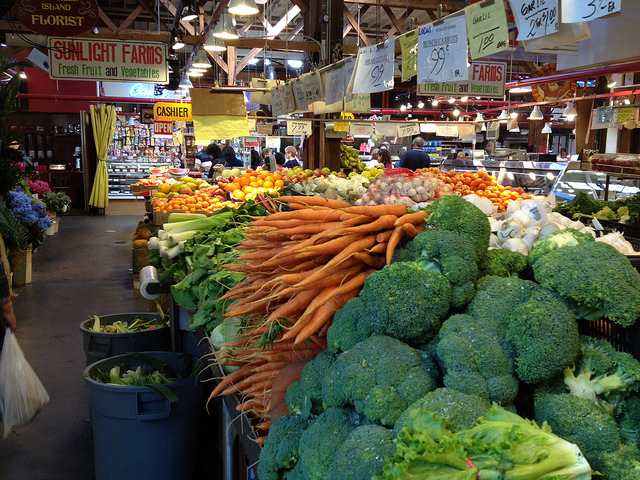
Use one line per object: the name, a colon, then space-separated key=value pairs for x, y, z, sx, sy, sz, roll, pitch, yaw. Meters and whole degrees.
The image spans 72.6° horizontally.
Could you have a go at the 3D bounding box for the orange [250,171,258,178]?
orange: x=-0.797 y=-0.791 z=5.239 sx=0.091 sy=0.061 sz=0.110 roll=-2 pitch=13 yaw=-9

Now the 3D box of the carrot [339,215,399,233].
carrot: x=0.194 y=-0.056 z=1.649 sx=0.222 sy=0.066 sz=0.049 roll=-3 pitch=12 yaw=-12

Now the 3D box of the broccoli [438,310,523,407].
broccoli: x=0.421 y=0.337 z=1.239 sx=0.203 sy=0.122 sz=0.266 roll=-35 pitch=51 yaw=-9

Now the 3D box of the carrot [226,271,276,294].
carrot: x=-0.287 y=0.181 z=1.853 sx=0.275 sy=0.033 sz=0.039 roll=-21 pitch=20 yaw=13

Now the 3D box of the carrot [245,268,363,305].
carrot: x=-0.046 y=0.180 z=1.654 sx=0.309 sy=0.047 sz=0.054 roll=-21 pitch=8 yaw=9

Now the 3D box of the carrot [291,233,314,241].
carrot: x=-0.073 y=-0.015 z=1.793 sx=0.106 sy=0.029 sz=0.029 roll=-3 pitch=3 yaw=-13

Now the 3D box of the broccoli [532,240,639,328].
broccoli: x=0.810 y=0.129 z=1.344 sx=0.274 sy=0.168 sz=0.279 roll=2 pitch=29 yaw=-12

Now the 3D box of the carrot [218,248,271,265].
carrot: x=-0.323 y=0.066 z=1.971 sx=0.194 sy=0.030 sz=0.029 roll=-17 pitch=33 yaw=15

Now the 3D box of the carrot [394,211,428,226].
carrot: x=0.354 y=-0.088 z=1.644 sx=0.164 sy=0.041 sz=0.046 roll=-8 pitch=48 yaw=-46

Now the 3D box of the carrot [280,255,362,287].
carrot: x=0.012 y=0.120 z=1.660 sx=0.225 sy=0.036 sz=0.029 roll=-28 pitch=16 yaw=-9

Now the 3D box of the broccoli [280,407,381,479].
broccoli: x=0.051 y=0.558 z=1.241 sx=0.189 sy=0.127 sz=0.255 roll=-36 pitch=7 yaw=44

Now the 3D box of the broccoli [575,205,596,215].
broccoli: x=2.399 y=-0.267 z=3.883 sx=0.111 sy=0.066 sz=0.317 roll=9 pitch=16 yaw=35

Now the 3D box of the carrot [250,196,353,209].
carrot: x=-0.026 y=-0.178 z=2.012 sx=0.354 sy=0.049 sz=0.161 roll=4 pitch=14 yaw=17

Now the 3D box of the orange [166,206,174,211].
orange: x=-1.878 y=-0.388 z=5.429 sx=0.085 sy=0.073 sz=0.072 roll=1 pitch=9 yaw=-5

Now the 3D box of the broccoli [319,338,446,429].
broccoli: x=0.173 y=0.413 z=1.183 sx=0.239 sy=0.097 sz=0.245 roll=-26 pitch=11 yaw=13

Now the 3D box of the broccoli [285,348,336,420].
broccoli: x=0.013 y=0.477 z=1.419 sx=0.150 sy=0.200 sz=0.103 roll=23 pitch=-13 yaw=47

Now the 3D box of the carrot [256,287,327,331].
carrot: x=-0.101 y=0.262 z=1.652 sx=0.264 sy=0.043 sz=0.045 roll=-34 pitch=27 yaw=-3

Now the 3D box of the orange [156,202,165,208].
orange: x=-2.043 y=-0.452 z=5.563 sx=0.074 sy=0.067 sz=0.074 roll=-5 pitch=-20 yaw=0

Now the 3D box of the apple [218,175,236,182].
apple: x=-1.250 y=-0.823 z=5.851 sx=0.198 sy=0.086 sz=0.199 roll=0 pitch=-4 yaw=-9

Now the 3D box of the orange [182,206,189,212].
orange: x=-1.599 y=-0.366 z=5.160 sx=0.062 sy=0.063 sz=0.074 roll=20 pitch=-16 yaw=-18

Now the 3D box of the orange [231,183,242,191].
orange: x=-1.015 y=-0.643 z=5.229 sx=0.092 sy=0.092 sz=0.095 roll=7 pitch=19 yaw=-5

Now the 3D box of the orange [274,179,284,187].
orange: x=-0.475 y=-0.649 z=5.026 sx=0.095 sy=0.093 sz=0.095 roll=-4 pitch=1 yaw=13

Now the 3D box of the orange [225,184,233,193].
orange: x=-1.113 y=-0.626 z=5.330 sx=0.094 sy=0.114 sz=0.095 roll=3 pitch=9 yaw=5

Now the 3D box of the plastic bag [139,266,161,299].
plastic bag: x=-1.304 y=0.323 z=3.340 sx=0.133 sy=0.146 sz=0.337 roll=-14 pitch=13 yaw=-14

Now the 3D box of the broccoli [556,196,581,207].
broccoli: x=2.628 y=-0.404 z=4.563 sx=0.250 sy=0.095 sz=0.256 roll=-3 pitch=11 yaw=25

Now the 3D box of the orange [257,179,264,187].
orange: x=-0.696 y=-0.660 z=5.084 sx=0.071 sy=0.071 sz=0.084 roll=-10 pitch=10 yaw=-25

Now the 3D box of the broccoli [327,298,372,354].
broccoli: x=0.085 y=0.281 z=1.379 sx=0.091 sy=0.172 sz=0.134 roll=20 pitch=10 yaw=-16

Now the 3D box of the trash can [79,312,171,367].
trash can: x=-1.444 y=0.723 z=3.258 sx=0.474 sy=0.372 sz=0.509 roll=-1 pitch=4 yaw=-4

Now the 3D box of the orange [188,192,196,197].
orange: x=-1.702 y=-0.607 z=5.783 sx=0.083 sy=0.054 sz=0.099 roll=-4 pitch=2 yaw=-2

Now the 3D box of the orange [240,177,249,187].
orange: x=-0.893 y=-0.690 z=5.188 sx=0.094 sy=0.114 sz=0.095 roll=1 pitch=15 yaw=-3

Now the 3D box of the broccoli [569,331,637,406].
broccoli: x=0.833 y=0.381 z=1.281 sx=0.179 sy=0.146 sz=0.081 roll=-13 pitch=-24 yaw=-47

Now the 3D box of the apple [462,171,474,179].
apple: x=1.613 y=-0.706 z=4.700 sx=0.113 sy=0.048 sz=0.113 roll=1 pitch=5 yaw=1

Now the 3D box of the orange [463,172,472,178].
orange: x=1.595 y=-0.693 z=4.673 sx=0.083 sy=0.032 sz=0.082 roll=3 pitch=0 yaw=6

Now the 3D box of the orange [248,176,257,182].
orange: x=-0.814 y=-0.727 z=5.167 sx=0.080 sy=0.067 sz=0.068 roll=1 pitch=21 yaw=0
